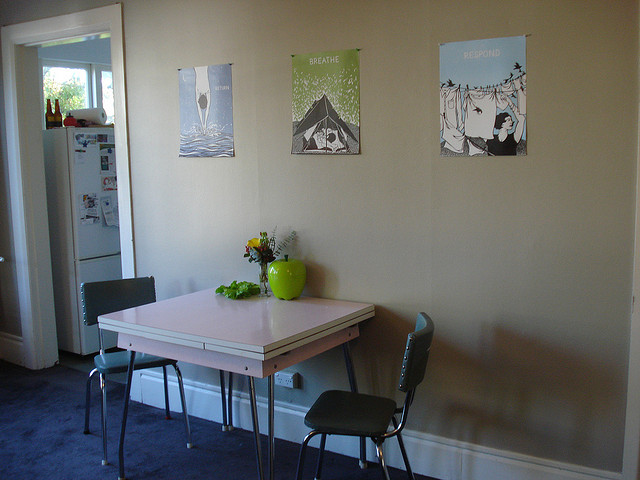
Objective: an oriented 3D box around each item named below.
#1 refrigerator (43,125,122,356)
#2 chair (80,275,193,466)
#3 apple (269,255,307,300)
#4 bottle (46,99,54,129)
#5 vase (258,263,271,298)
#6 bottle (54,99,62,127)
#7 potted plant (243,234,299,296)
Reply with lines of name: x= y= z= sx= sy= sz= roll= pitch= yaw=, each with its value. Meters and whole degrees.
refrigerator: x=-2.134 y=0.002 z=4.832 sx=0.697 sy=2.055 sz=0.709 roll=-5 pitch=13 yaw=-29
chair: x=-1.206 y=0.746 z=3.338 sx=0.654 sy=0.995 sz=0.724 roll=-8 pitch=13 yaw=-27
apple: x=-0.197 y=0.213 z=3.165 sx=0.224 sy=0.294 sz=0.240 roll=-4 pitch=13 yaw=8
bottle: x=-2.441 y=-1.122 z=4.734 sx=0.072 sy=0.256 sz=0.345 roll=-8 pitch=13 yaw=-27
vase: x=-0.351 y=0.231 z=3.228 sx=0.076 sy=0.199 sz=0.173 roll=-4 pitch=12 yaw=-7
bottle: x=-2.372 y=-1.132 z=4.743 sx=0.066 sy=0.244 sz=0.381 roll=-8 pitch=13 yaw=-25
potted plant: x=-0.304 y=0.143 z=3.245 sx=0.331 sy=0.423 sz=0.268 roll=5 pitch=-3 yaw=-16
